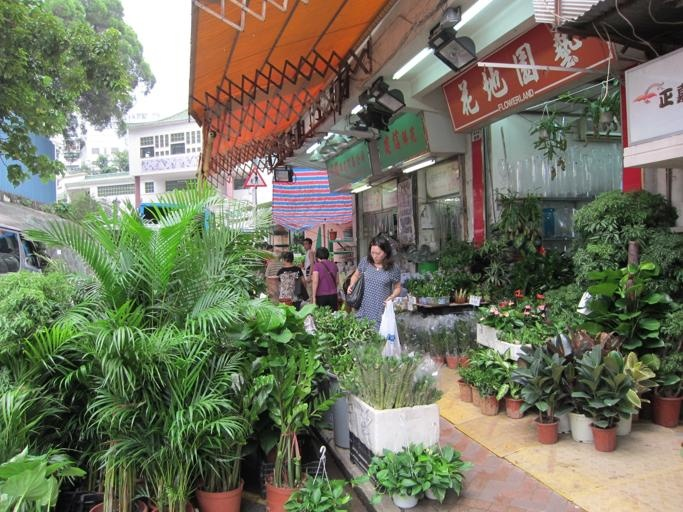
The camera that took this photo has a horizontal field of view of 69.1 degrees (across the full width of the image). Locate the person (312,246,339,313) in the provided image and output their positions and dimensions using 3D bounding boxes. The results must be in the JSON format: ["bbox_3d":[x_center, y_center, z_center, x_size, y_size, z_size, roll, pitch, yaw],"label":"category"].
[{"bbox_3d":[-0.246,0.457,7.103,0.377,1.241,0.360,-8,19,-23],"label":"person"}]

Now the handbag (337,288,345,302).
[{"bbox_3d":[-0.020,0.759,9.740,0.157,0.163,0.360,7,-20,-19],"label":"handbag"}]

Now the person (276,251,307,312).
[{"bbox_3d":[-0.760,0.441,7.865,0.461,1.259,0.456,3,37,2],"label":"person"}]

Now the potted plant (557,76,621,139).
[{"bbox_3d":[3.519,-2.114,7.045,0.605,0.448,0.963,-7,-19,36],"label":"potted plant"}]

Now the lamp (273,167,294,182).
[{"bbox_3d":[-1.102,-1.560,9.367,0.406,0.298,0.262,-5,7,-29],"label":"lamp"}]

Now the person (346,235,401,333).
[{"bbox_3d":[0.334,0.492,5.537,0.482,1.420,0.470,15,30,19],"label":"person"}]
